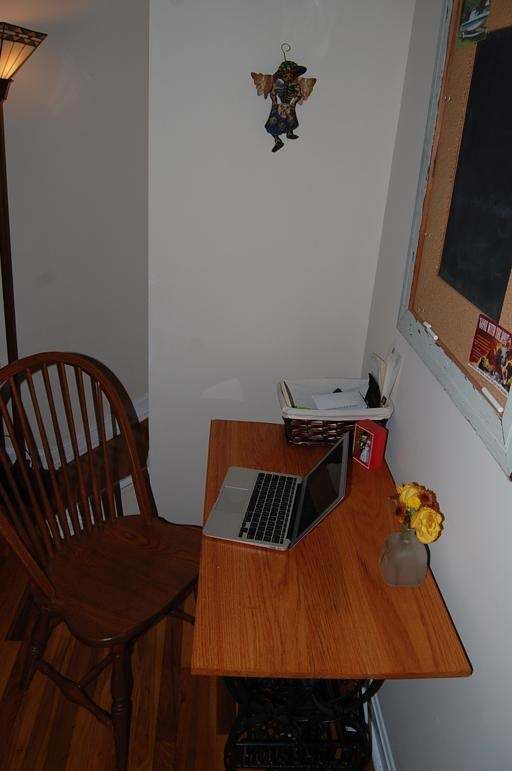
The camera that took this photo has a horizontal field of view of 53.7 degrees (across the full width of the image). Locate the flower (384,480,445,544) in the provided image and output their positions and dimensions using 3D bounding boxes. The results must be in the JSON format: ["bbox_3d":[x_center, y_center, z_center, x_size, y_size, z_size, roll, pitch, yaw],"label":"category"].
[{"bbox_3d":[0.273,0.216,0.884,0.092,0.041,0.107,-8,80,-32],"label":"flower"}]

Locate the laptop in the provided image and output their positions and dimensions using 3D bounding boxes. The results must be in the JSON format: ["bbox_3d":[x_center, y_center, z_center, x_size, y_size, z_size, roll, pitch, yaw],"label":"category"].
[{"bbox_3d":[0.039,0.264,1.119,0.221,0.164,0.256,11,32,6],"label":"laptop"}]
